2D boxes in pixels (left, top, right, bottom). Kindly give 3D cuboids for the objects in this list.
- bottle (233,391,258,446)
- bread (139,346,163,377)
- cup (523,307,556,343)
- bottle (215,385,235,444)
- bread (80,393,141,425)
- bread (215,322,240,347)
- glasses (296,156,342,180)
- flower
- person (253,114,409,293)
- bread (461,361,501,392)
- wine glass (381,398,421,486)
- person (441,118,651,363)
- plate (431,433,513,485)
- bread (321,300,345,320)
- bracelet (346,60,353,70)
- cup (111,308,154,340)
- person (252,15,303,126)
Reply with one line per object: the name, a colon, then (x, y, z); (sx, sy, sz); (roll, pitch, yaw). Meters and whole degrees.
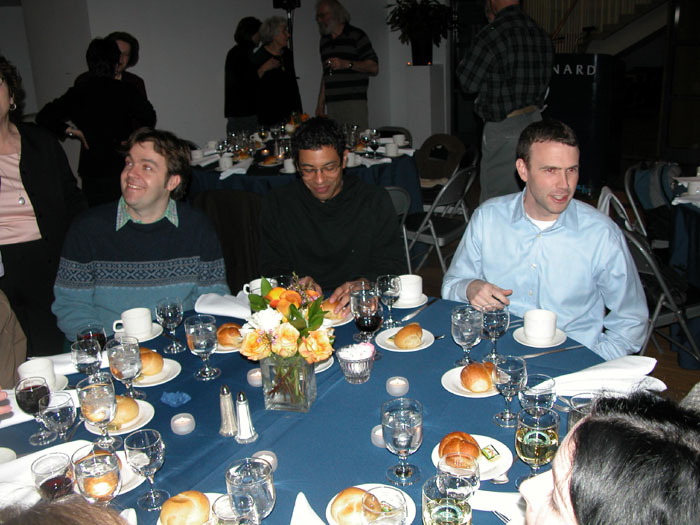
bottle: (-0.298, 0.438, 1.501); (0.071, 0.133, 0.074); (-5, 6, 1)
bread: (-0.671, 0.330, 1.793); (0.086, 0.033, 0.084); (11, 44, -35)
cup: (0.669, 0.226, 1.878); (0.108, 0.092, 0.110); (-1, 9, 0)
bottle: (-0.362, 0.415, 1.537); (0.056, 0.136, 0.125); (-10, 18, -15)
bread: (-0.692, 0.419, 1.562); (0.092, 0.046, 0.093); (8, 19, 1)
bread: (-0.446, 0.253, 1.974); (0.092, 0.104, 0.062); (1, 6, -6)
glasses: (-0.144, -0.470, 2.690); (0.225, 0.084, 0.117); (-7, 17, -5)
flower: (-0.196, 0.240, 1.708); (0.345, 0.458, 0.331); (-6, 12, -24)
person: (-0.114, -0.242, 2.830); (0.829, 1.068, 0.637); (-1, 37, 4)
bread: (0.394, 0.356, 1.627); (0.091, 0.049, 0.085); (-16, 17, -35)
wine glass: (0.135, 0.460, 1.363); (0.113, 0.194, 0.117); (-4, 6, -18)
person: (0.862, -0.093, 2.366); (0.868, 1.008, 0.552); (9, 22, 29)
plate: (0.347, 0.516, 1.365); (0.123, 0.018, 0.125); (2, 29, -3)
bread: (-0.065, 0.182, 2.126); (0.077, 0.021, 0.073); (28, 33, -8)
bracelet: (0.003, -2.288, 6.139); (0.079, 0.112, 0.114); (-1, 15, 0)
cup: (-0.837, 0.243, 2.048); (0.146, 0.110, 0.107); (-13, 7, -44)
person: (-0.834, -2.124, 5.955); (0.503, 1.177, 0.415); (-8, 17, -9)
